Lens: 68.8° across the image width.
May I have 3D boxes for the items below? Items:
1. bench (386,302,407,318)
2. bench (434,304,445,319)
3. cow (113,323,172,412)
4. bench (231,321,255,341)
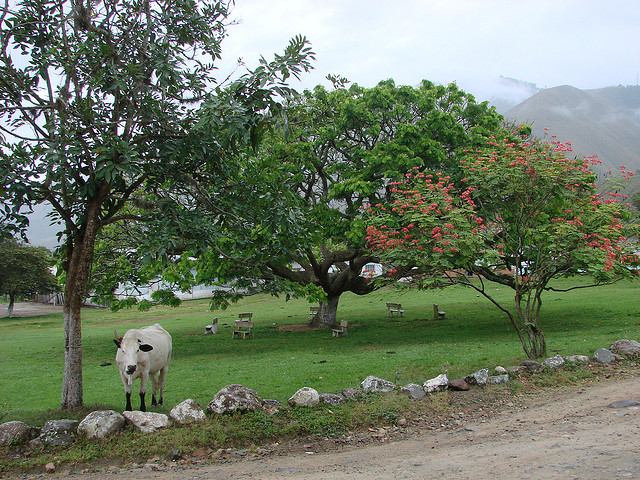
[{"bbox_3d":[5.655,5.032,34.407,1.578,0.943,0.761,3,-33,-1],"label":"bench"},{"bbox_3d":[7.568,4.462,30.337,1.086,0.981,0.889,-3,0,16],"label":"bench"},{"bbox_3d":[-5.053,3.597,13.360,1.021,2.444,2.321,-2,2,-4],"label":"cow"},{"bbox_3d":[-4.397,5.130,26.889,1.463,0.751,0.722,-5,-10,29],"label":"bench"}]
